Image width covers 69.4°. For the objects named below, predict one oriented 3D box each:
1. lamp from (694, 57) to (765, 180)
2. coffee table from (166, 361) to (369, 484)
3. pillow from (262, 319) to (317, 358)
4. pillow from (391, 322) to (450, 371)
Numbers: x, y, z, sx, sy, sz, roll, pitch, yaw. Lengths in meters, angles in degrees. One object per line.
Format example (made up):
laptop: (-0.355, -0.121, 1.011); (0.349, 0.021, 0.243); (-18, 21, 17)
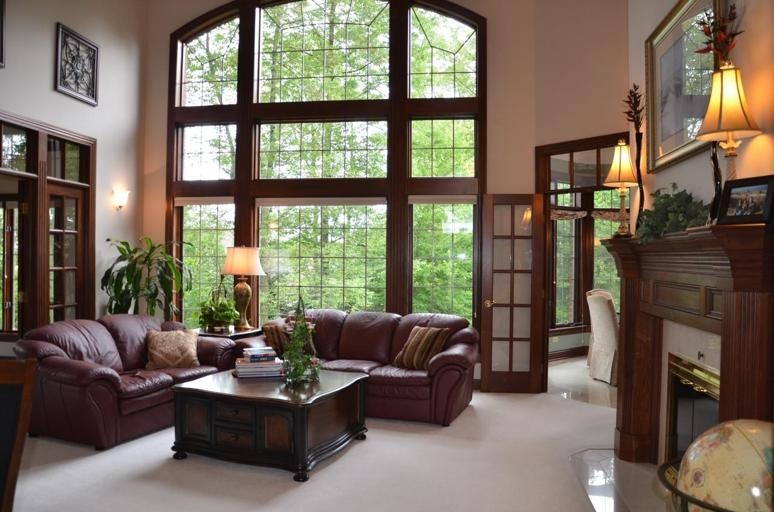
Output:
lamp: (2.434, -0.880, 3.985); (0.366, 1.042, 0.383); (4, 35, 41)
coffee table: (-0.965, 1.504, 5.364); (1.067, 0.497, 1.058); (0, -1, 24)
pillow: (-1.075, 0.918, 6.117); (0.554, 0.559, 0.169); (-6, -7, 14)
pillow: (0.396, 1.036, 6.398); (0.513, 0.498, 0.158); (0, -36, 51)
